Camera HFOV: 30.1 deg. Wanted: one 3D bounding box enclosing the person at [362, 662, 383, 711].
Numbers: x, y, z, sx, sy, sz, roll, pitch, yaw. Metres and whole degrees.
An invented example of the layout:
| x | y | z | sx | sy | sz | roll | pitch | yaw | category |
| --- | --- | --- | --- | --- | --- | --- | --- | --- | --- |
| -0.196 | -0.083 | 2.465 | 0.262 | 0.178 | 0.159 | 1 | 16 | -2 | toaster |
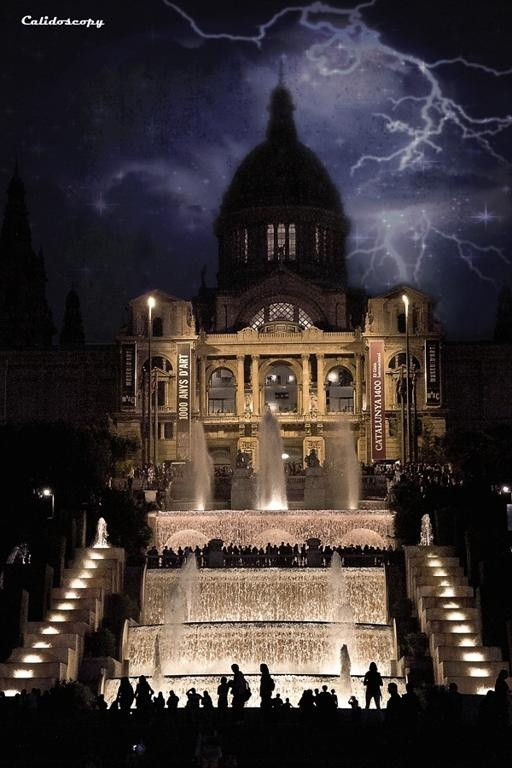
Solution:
| x | y | z | sx | sy | sz | roll | pitch | yaw | category |
| --- | --- | --- | --- | --- | --- | --- | --- | --- | --- |
| 2.098 | 5.494 | 17.248 | 0.286 | 1.200 | 0.338 | 1 | 26 | 10 | person |

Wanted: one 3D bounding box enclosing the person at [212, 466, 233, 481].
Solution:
| x | y | z | sx | sy | sz | roll | pitch | yaw | category |
| --- | --- | --- | --- | --- | --- | --- | --- | --- | --- |
| -1.793 | 4.799 | 50.282 | 0.762 | 0.658 | 1.258 | 0 | 2 | -2 | person |
